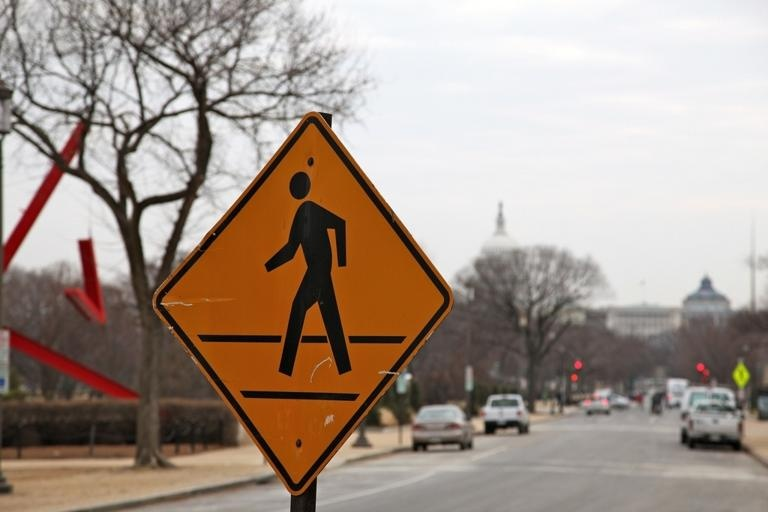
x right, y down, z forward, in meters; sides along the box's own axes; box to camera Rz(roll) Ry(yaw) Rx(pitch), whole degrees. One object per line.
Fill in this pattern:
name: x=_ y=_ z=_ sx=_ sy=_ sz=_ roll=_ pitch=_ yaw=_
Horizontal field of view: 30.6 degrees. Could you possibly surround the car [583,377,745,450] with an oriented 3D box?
car: x=7.236 y=3.590 z=30.811 sx=2.143 sy=1.683 sz=4.995 roll=-2 pitch=-15 yaw=15
